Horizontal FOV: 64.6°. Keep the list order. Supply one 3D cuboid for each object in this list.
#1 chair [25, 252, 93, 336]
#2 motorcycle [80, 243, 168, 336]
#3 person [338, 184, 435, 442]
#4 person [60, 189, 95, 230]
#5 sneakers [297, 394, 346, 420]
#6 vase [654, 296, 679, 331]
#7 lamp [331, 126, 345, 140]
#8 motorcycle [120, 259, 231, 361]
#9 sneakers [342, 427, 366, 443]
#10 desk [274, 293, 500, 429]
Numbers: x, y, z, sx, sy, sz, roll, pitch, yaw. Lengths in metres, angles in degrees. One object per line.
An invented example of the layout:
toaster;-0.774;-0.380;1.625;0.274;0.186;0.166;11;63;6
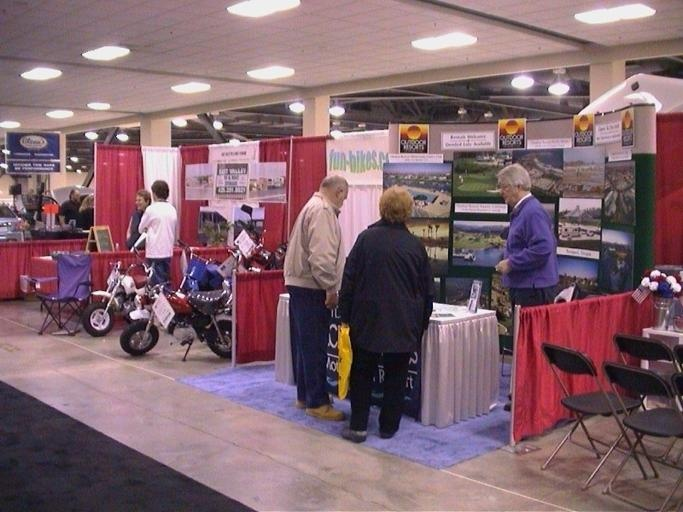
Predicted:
chair;-4.035;0.549;7.835;0.775;1.122;0.788;2;1;-37
motorcycle;-3.354;0.626;8.433;0.864;1.030;1.839;4;4;13
person;0.351;0.498;4.352;0.743;2.079;0.305;1;5;12
person;-6.272;-1.061;12.761;0.664;0.924;1.157;-4;6;-32
sneakers;-0.226;1.430;5.036;0.487;0.215;0.173;2;-1;26
vase;3.033;0.530;5.055;0.185;0.316;0.176;3;6;30
lamp;-0.078;-1.709;7.670;0.163;0.170;0.543;-1;6;-4
motorcycle;-2.071;0.705;6.841;1.487;1.081;1.053;2;8;-4
sneakers;0.096;1.471;4.499;0.088;0.139;0.192;-2;10;-41
desk;0.118;0.867;5.913;1.662;0.905;1.063;-1;-7;-19
